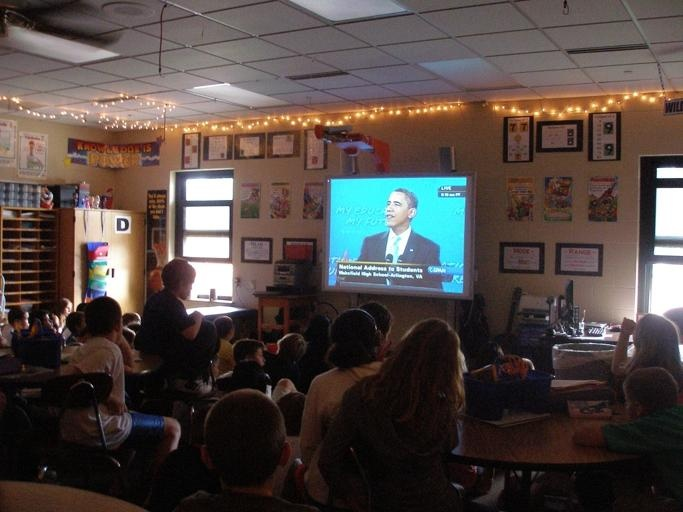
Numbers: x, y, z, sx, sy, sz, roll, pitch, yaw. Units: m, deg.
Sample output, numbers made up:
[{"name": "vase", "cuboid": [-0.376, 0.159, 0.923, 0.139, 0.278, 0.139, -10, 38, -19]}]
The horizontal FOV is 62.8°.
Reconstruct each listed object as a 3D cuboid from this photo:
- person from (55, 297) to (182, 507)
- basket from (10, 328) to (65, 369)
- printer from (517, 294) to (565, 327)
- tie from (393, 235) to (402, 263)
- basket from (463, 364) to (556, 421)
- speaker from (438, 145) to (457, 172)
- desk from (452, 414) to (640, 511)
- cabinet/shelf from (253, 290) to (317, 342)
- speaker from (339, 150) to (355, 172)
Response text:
[{"name": "person", "cuboid": [-1.423, 0.937, 3.557, 0.507, 1.271, 0.767, -2, -8, 23]}, {"name": "basket", "cuboid": [-2.088, 0.646, 3.832, 0.322, 0.218, 0.171, 6, -7, -37]}, {"name": "printer", "cuboid": [2.213, 0.585, 6.277, 0.355, 0.236, 0.358, 1, 1, 27]}, {"name": "tie", "cuboid": [0.692, -0.092, 6.923, 0.170, 0.283, 0.069, 3, 2, 35]}, {"name": "basket", "cuboid": [0.869, 0.668, 2.905, 0.384, 0.162, 0.254, -2, 2, -28]}, {"name": "speaker", "cuboid": [1.276, -1.163, 6.730, 0.198, 0.356, 0.286, 2, 2, 9]}, {"name": "desk", "cuboid": [0.839, 0.866, 2.675, 0.503, 0.279, 0.501, -1, -3, -1]}, {"name": "cabinet/shelf", "cuboid": [-0.863, 0.849, 7.525, 0.561, 0.644, 0.594, 2, -4, 7]}, {"name": "speaker", "cuboid": [0.076, -1.180, 7.000, 0.236, 0.332, 0.277, 0, 3, 14]}]
